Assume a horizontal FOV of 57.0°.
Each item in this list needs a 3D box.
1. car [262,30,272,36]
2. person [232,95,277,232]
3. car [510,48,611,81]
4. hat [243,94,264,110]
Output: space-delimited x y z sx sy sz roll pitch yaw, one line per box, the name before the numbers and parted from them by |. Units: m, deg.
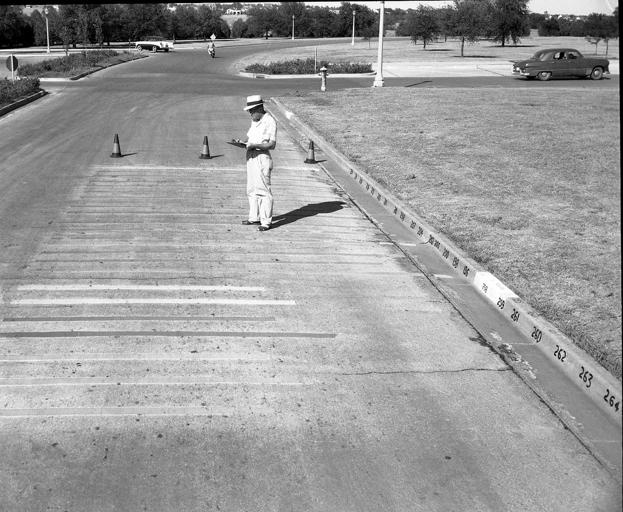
car | -9.707 -49.141 126.251 1.563 1.295 5.006 1 20 3
person | -0.993 -1.684 10.469 0.685 2.438 0.656 -7 20 -20
car | 16.627 -12.682 37.909 5.557 1.933 1.560 -3 20 -6
hat | -1.010 -2.685 10.053 0.280 0.272 0.505 -2 20 -4
